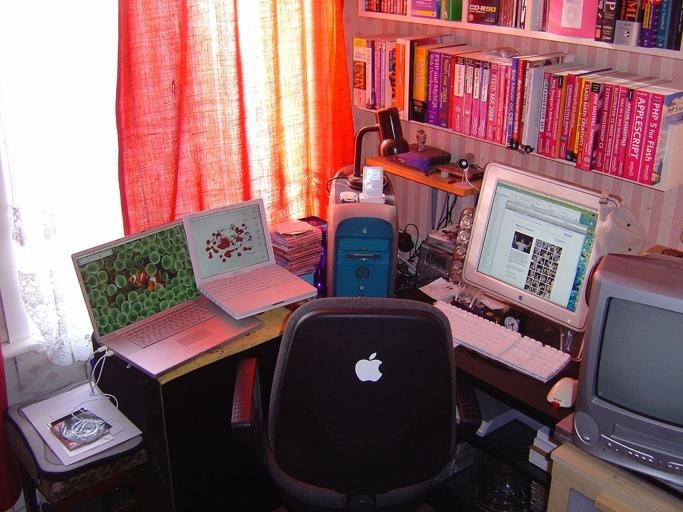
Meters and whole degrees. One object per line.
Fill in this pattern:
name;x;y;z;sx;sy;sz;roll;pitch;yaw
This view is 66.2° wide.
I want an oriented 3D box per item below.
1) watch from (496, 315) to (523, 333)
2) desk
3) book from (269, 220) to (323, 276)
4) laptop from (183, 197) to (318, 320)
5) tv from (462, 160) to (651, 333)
watch;0.651;0.255;2.028;0.074;0.069;0.056;-15;17;-22
desk;0.513;0.460;1.799;0.409;0.535;0.786;-14;31;-27
book;-0.204;-0.033;2.444;0.195;0.088;0.257;-11;28;-27
laptop;-0.412;0.004;2.274;0.479;0.548;0.367;-16;17;-36
tv;0.781;-0.024;1.890;0.508;0.543;0.256;20;17;31
